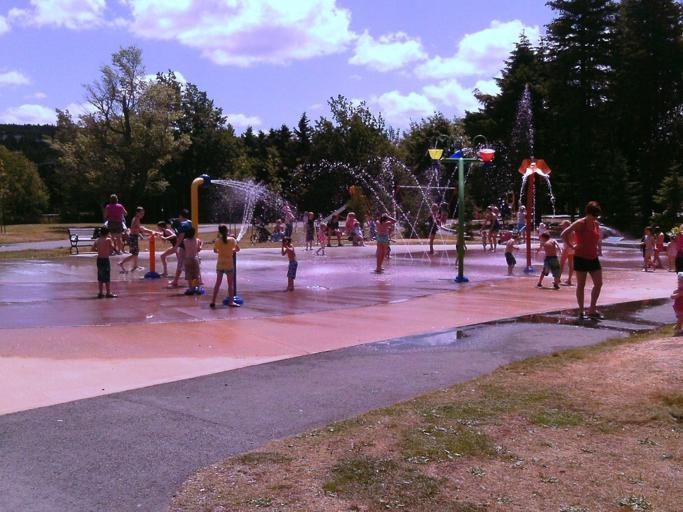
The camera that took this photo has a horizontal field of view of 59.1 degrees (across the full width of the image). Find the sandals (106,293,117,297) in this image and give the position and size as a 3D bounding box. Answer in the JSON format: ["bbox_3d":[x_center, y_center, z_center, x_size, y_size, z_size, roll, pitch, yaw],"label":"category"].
[{"bbox_3d":[-5.315,0.894,13.963,0.180,0.105,0.293,-1,3,-12],"label":"sandals"}]

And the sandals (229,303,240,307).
[{"bbox_3d":[-2.312,1.051,12.998,0.242,0.106,0.085,-1,3,8],"label":"sandals"}]

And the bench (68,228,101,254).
[{"bbox_3d":[-11.794,-0.675,27.541,0.704,0.917,1.720,29,15,27],"label":"bench"}]

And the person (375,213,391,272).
[{"bbox_3d":[1.344,-0.433,19.819,0.469,1.894,1.026,0,3,4],"label":"person"}]

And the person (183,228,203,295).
[{"bbox_3d":[-3.674,0.088,14.850,0.365,1.629,0.812,-1,3,-14],"label":"person"}]

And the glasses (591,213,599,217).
[{"bbox_3d":[4.877,-0.782,11.571,0.102,0.072,0.371,1,3,27],"label":"glasses"}]
